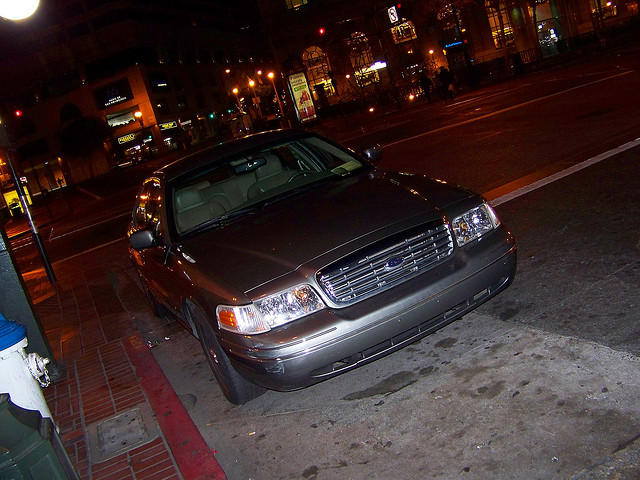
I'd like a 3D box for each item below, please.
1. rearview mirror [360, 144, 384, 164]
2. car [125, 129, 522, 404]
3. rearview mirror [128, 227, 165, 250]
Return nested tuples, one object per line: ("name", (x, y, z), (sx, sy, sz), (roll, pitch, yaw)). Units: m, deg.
("rearview mirror", (0.629, -1.061, 5.540), (0.196, 0.099, 0.276), (-58, 21, -2))
("car", (-0.859, -0.196, 5.897), (2.826, 1.895, 6.227), (-22, 18, -27))
("rearview mirror", (-1.901, -0.006, 4.877), (0.328, 0.215, 0.558), (-21, 11, -23))
